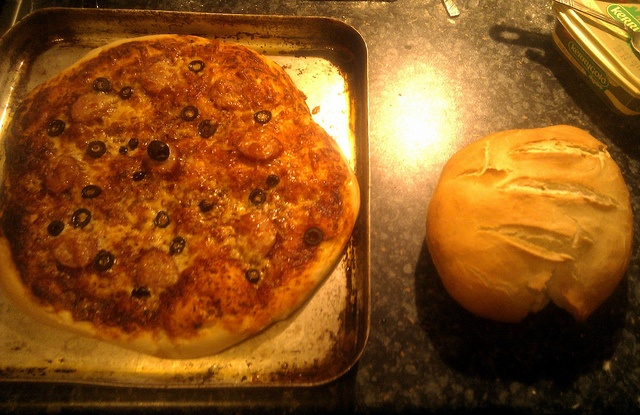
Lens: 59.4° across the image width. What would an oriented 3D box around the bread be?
[{"bbox_3d":[0.832,0.078,2.239,0.728,0.252,0.722,-1,75,-2],"label":"bread"}]
